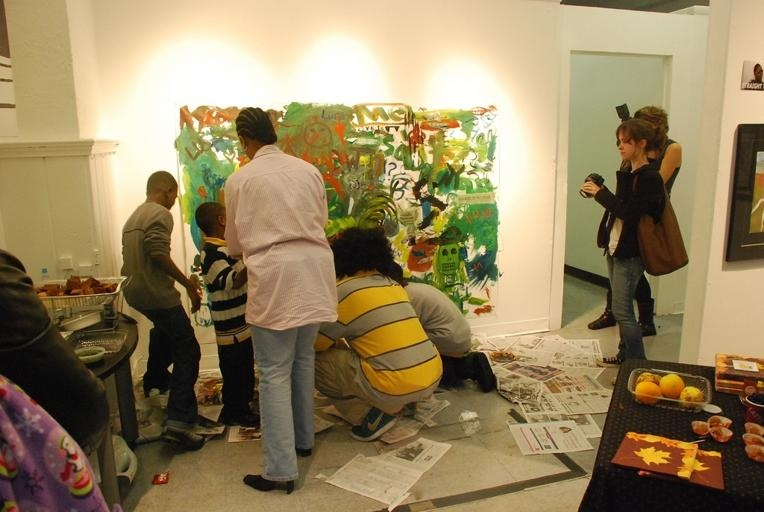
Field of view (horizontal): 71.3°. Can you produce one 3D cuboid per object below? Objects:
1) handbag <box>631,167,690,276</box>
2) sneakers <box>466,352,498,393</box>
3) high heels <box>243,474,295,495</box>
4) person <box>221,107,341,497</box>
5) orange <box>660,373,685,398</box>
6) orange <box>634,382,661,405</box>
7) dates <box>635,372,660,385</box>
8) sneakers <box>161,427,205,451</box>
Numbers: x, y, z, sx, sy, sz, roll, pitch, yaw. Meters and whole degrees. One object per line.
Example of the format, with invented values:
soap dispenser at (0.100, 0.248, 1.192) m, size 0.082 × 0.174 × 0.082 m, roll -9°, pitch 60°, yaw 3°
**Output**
handbag at (2.277, -0.182, 4.301) m, size 0.345 × 0.676 × 0.268 m, roll -10°, pitch 14°, yaw -33°
sneakers at (0.812, 0.954, 4.363) m, size 0.199 × 0.309 × 0.107 m, roll -14°, pitch -7°, yaw 33°
high heels at (-0.692, 1.438, 3.339) m, size 0.222 × 0.089 × 0.067 m, roll 17°, pitch 11°, yaw 3°
person at (-0.615, 0.277, 3.330) m, size 0.655 × 2.367 × 0.511 m, roll -4°, pitch 12°, yaw -7°
orange at (1.481, 0.671, 2.740) m, size 0.114 × 0.108 × 0.110 m, roll -8°, pitch 2°, yaw 10°
orange at (1.352, 0.702, 2.721) m, size 0.126 × 0.091 × 0.091 m, roll 14°, pitch -1°, yaw -19°
dates at (1.415, 0.650, 2.844) m, size 0.083 × 0.031 × 0.074 m, roll -2°, pitch 6°, yaw -19°
sneakers at (-1.356, 1.266, 3.740) m, size 0.342 × 0.159 × 0.119 m, roll 16°, pitch 49°, yaw -15°
